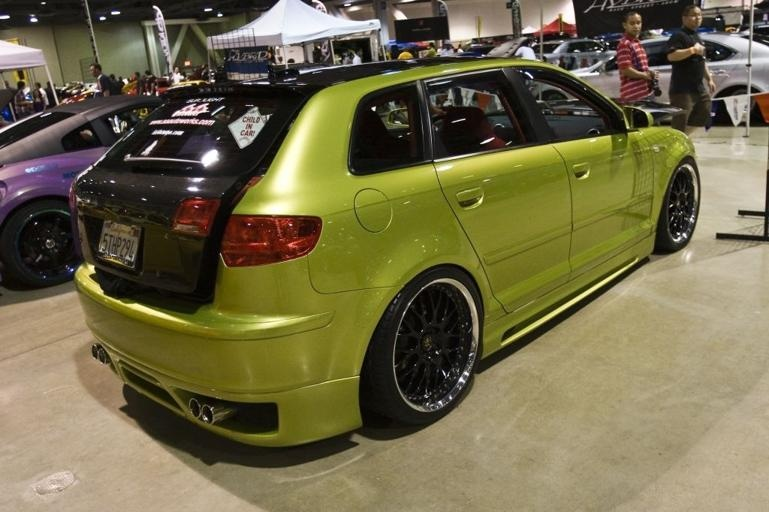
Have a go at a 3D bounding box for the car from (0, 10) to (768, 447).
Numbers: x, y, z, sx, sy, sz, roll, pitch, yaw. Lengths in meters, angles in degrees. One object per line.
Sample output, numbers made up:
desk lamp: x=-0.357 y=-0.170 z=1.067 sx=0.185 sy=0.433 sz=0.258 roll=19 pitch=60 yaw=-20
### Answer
car: x=0.409 y=-0.516 z=3.499 sx=4.523 sy=1.558 sz=2.057 roll=-21 pitch=21 yaw=-33
